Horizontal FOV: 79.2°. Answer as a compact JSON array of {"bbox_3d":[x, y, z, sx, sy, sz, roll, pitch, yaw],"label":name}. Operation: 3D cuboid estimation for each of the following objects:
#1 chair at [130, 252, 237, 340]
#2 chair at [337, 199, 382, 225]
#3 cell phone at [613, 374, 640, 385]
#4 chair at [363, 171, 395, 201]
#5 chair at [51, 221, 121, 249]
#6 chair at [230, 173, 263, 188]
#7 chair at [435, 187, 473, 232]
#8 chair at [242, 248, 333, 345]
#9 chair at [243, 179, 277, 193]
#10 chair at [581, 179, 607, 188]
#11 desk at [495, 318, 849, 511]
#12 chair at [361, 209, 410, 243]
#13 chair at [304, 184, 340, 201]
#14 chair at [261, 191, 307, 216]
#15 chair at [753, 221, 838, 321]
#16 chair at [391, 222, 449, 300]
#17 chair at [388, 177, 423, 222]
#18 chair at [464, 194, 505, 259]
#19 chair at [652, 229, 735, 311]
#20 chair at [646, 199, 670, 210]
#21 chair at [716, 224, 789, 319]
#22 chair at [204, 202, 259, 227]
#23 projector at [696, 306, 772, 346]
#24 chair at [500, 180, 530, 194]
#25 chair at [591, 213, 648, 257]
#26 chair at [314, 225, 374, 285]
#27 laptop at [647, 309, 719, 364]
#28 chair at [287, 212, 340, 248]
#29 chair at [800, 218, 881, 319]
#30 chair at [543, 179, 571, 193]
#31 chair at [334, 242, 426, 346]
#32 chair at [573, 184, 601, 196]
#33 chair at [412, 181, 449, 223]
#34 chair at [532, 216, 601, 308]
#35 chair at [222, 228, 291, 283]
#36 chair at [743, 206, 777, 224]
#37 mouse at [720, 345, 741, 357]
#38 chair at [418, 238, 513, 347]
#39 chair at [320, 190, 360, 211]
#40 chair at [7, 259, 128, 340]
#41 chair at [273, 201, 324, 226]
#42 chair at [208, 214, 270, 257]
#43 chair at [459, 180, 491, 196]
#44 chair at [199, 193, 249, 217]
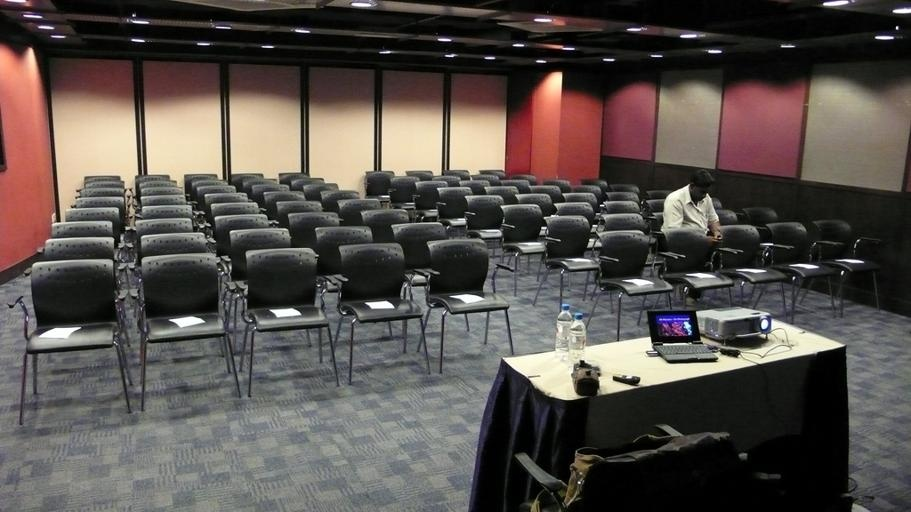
[{"bbox_3d":[-3.258,0.535,6.709,0.994,0.746,1.011,-6,18,-37],"label":"chair"},{"bbox_3d":[-1.730,-0.734,9.975,0.677,0.553,0.558,-1,3,-21],"label":"chair"},{"bbox_3d":[1.540,1.097,4.984,0.101,0.041,0.158,-3,4,-38],"label":"cell phone"},{"bbox_3d":[-1.999,-1.884,14.341,0.971,0.921,0.838,1,1,-9],"label":"chair"},{"bbox_3d":[-5.523,-0.357,8.352,0.628,0.668,0.587,-2,3,-21],"label":"chair"},{"bbox_3d":[-4.954,-1.843,13.072,0.736,0.441,0.665,-1,18,-12],"label":"chair"},{"bbox_3d":[-0.071,-0.972,11.063,0.809,0.723,0.738,6,11,14],"label":"chair"},{"bbox_3d":[-2.202,0.407,7.083,0.936,0.945,0.981,-5,9,-18],"label":"chair"},{"bbox_3d":[-4.227,-1.551,11.895,0.602,0.234,0.463,-3,5,-39],"label":"chair"},{"bbox_3d":[3.289,-1.733,13.057,0.395,0.312,0.360,-1,1,-13],"label":"chair"},{"bbox_3d":[2.220,1.642,5.717,3.155,1.320,1.698,-7,8,-12],"label":"desk"},{"bbox_3d":[-1.265,-0.466,9.329,0.854,0.669,0.592,-2,27,-24],"label":"chair"},{"bbox_3d":[-2.891,-1.395,11.619,0.688,0.288,0.542,-2,11,-19],"label":"chair"},{"bbox_3d":[-3.237,-1.036,10.397,0.627,0.462,0.584,-1,2,-26],"label":"chair"},{"bbox_3d":[5.738,0.160,9.166,1.119,1.281,1.102,1,14,6],"label":"chair"},{"bbox_3d":[-0.530,-0.060,8.327,0.949,1.071,0.972,-2,5,-20],"label":"chair"},{"bbox_3d":[-1.145,-1.377,12.921,1.059,1.194,1.066,-2,6,-19],"label":"chair"},{"bbox_3d":[0.654,-0.545,10.285,0.897,1.070,0.861,-2,15,-16],"label":"chair"},{"bbox_3d":[3.705,0.278,8.532,1.171,1.207,1.073,-1,17,2],"label":"chair"},{"bbox_3d":[3.879,-0.991,10.862,0.312,0.188,0.288,-1,3,-15],"label":"chair"},{"bbox_3d":[4.706,0.256,8.802,1.107,1.344,0.955,0,10,-4],"label":"chair"},{"bbox_3d":[-3.738,-0.799,9.382,0.667,0.403,0.452,2,13,-20],"label":"chair"},{"bbox_3d":[2.886,0.695,5.787,0.622,0.220,0.568,-5,9,-13],"label":"projector"},{"bbox_3d":[1.335,-1.554,12.179,0.442,0.486,0.436,-2,5,-13],"label":"chair"},{"bbox_3d":[2.775,-0.344,8.980,0.854,0.907,0.791,0,0,-8],"label":"chair"},{"bbox_3d":[-1.530,-0.114,8.446,1.151,0.944,0.803,-2,11,-17],"label":"chair"},{"bbox_3d":[2.237,0.813,5.475,0.582,0.305,0.521,-5,17,-13],"label":"laptop"},{"bbox_3d":[-2.312,-0.403,9.045,0.842,0.656,0.591,1,-7,-17],"label":"chair"},{"bbox_3d":[6.549,0.177,9.669,0.882,1.200,0.884,-22,8,-25],"label":"chair"},{"bbox_3d":[2.308,-1.595,12.545,0.597,0.285,0.684,-1,8,8],"label":"chair"},{"bbox_3d":[-1.009,0.531,7.225,1.140,1.247,1.115,-5,13,-38],"label":"chair"},{"bbox_3d":[2.926,-1.475,12.303,0.365,0.227,0.356,-2,3,-45],"label":"chair"},{"bbox_3d":[-0.608,-1.220,12.091,0.808,0.893,0.858,0,1,-10],"label":"chair"},{"bbox_3d":[1.918,0.078,9.052,1.035,1.319,1.058,16,19,39],"label":"chair"},{"bbox_3d":[-2.812,-0.042,7.876,0.902,0.740,0.774,-1,5,-25],"label":"chair"},{"bbox_3d":[5.767,-0.766,10.479,0.481,0.401,0.413,-3,5,-8],"label":"chair"},{"bbox_3d":[2.686,0.939,5.426,0.111,0.031,0.114,8,9,43],"label":"mouse"},{"bbox_3d":[0.111,0.271,7.566,1.021,0.950,0.914,-4,9,-9],"label":"chair"},{"bbox_3d":[-2.246,-1.113,10.722,0.677,0.497,0.476,-2,14,-16],"label":"chair"},{"bbox_3d":[-4.823,0.418,7.039,1.295,0.957,0.967,-2,2,-19],"label":"chair"},{"bbox_3d":[-2.763,-0.819,9.603,0.652,0.291,0.510,-2,12,-16],"label":"chair"},{"bbox_3d":[-3.444,-0.324,8.780,0.805,0.659,0.676,-1,0,-17],"label":"chair"},{"bbox_3d":[0.429,-1.510,12.029,0.495,0.402,0.473,2,7,23],"label":"chair"},{"bbox_3d":[-4.319,-0.895,10.314,0.632,0.336,0.577,-1,4,-30],"label":"chair"}]
